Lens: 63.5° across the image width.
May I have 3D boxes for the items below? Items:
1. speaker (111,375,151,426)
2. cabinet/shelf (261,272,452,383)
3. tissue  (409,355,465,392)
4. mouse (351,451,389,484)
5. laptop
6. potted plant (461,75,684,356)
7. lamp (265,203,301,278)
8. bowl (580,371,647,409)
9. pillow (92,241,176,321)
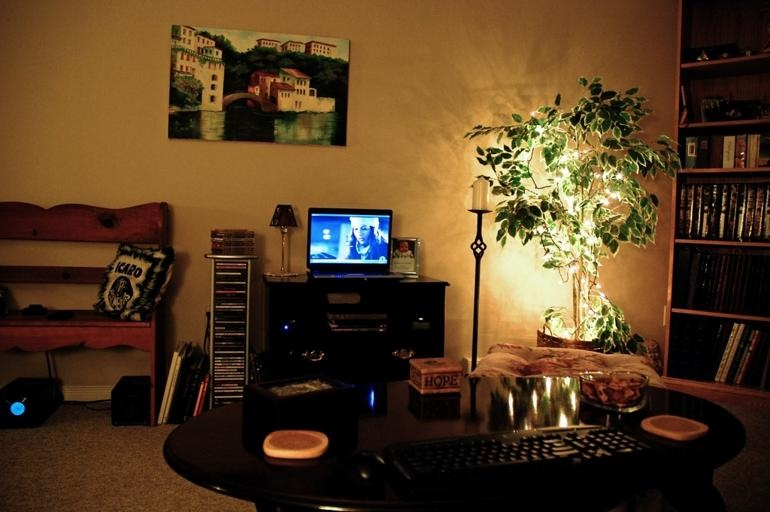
[{"bbox_3d":[-1.703,0.985,4.239,0.264,0.273,0.436,2,0,-13],"label":"speaker"},{"bbox_3d":[-0.175,0.464,4.260,1.297,0.847,0.746,0,0,-13],"label":"cabinet/shelf"},{"bbox_3d":[0.229,0.554,3.039,0.190,0.096,0.182,0,1,-15],"label":"tissue "},{"bbox_3d":[-0.063,0.836,2.465,0.129,0.094,0.090,0,0,-3],"label":"mouse"},{"bbox_3d":[-0.239,-0.089,4.456,0.553,0.405,0.055,1,-1,-7],"label":"laptop"},{"bbox_3d":[1.380,-0.386,4.633,1.455,1.516,0.876,0,0,5],"label":"potted plant"},{"bbox_3d":[-0.738,-0.125,4.489,0.216,0.541,0.366,0,0,-8],"label":"lamp"},{"bbox_3d":[1.053,0.609,2.873,0.223,0.082,0.177,-1,1,-7],"label":"bowl"},{"bbox_3d":[-1.675,0.185,4.295,0.547,0.487,0.163,7,-15,21],"label":"pillow"}]
